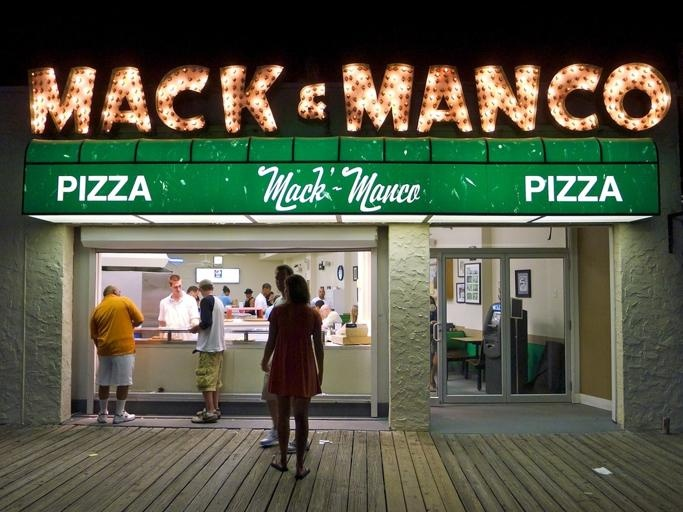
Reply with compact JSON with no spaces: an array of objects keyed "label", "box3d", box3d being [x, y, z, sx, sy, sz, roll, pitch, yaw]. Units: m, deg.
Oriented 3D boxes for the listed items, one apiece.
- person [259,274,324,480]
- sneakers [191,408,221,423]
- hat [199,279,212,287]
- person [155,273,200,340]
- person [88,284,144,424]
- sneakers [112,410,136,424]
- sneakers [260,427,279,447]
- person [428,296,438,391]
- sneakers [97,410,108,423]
[{"label":"person","box3d":[-0.577,1.379,7.368,0.690,2.282,0.589,1,7,2]},{"label":"sneakers","box3d":[-1.944,2.307,9.068,0.354,0.182,0.165,2,-6,-6]},{"label":"hat","box3d":[-1.971,0.399,9.154,0.134,0.081,0.103,-1,-3,30]},{"label":"person","box3d":[-2.625,0.922,10.239,0.710,1.252,0.697,7,25,1]},{"label":"person","box3d":[-3.192,1.484,8.975,0.682,1.762,0.433,-3,7,-23]},{"label":"sneakers","box3d":[-3.099,2.304,8.991,0.125,0.143,0.318,-1,-3,26]},{"label":"sneakers","box3d":[-0.927,2.383,8.212,0.120,0.164,0.340,-8,-11,44]},{"label":"person","box3d":[1.470,1.394,10.077,0.127,1.475,0.374,1,7,8]},{"label":"sneakers","box3d":[-3.393,2.290,8.936,0.086,0.108,0.240,3,-5,-13]}]
